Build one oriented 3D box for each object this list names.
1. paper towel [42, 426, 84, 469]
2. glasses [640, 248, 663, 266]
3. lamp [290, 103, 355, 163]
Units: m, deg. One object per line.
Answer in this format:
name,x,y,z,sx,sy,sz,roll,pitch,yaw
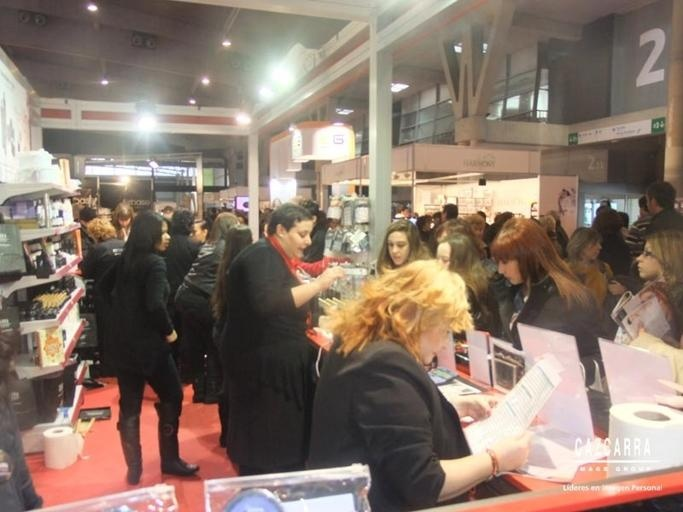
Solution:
paper towel,-2.187,1.475,3.894,0.220,0.240,0.225,1,2,8
glasses,1.667,0.007,2.710,0.080,0.066,0.112,2,6,33
lamp,-0.239,-2.139,8.105,0.803,0.643,1.184,-3,10,-17
